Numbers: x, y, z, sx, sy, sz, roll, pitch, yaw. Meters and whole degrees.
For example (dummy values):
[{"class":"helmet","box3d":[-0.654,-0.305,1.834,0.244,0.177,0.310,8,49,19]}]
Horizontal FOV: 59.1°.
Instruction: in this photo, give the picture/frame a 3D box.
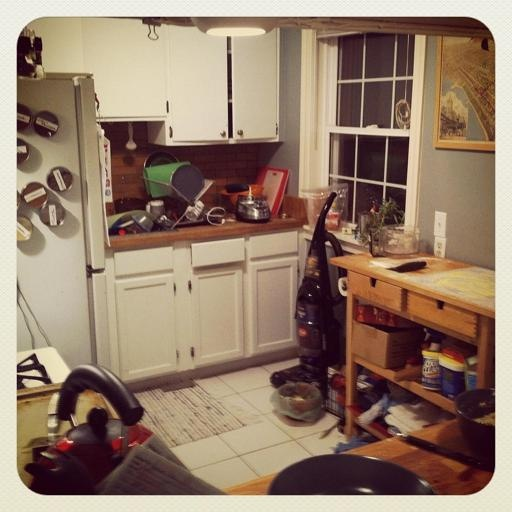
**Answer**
[{"class":"picture/frame","box3d":[0.848,-0.664,1.839,0.064,0.467,0.299,-5,13,-20]}]

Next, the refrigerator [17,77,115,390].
[{"class":"refrigerator","box3d":[-0.839,-0.077,1.903,0.381,1.287,0.155,-7,14,-28]}]

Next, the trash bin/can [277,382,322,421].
[{"class":"trash bin/can","box3d":[0.222,0.785,2.433,0.256,0.143,0.174,1,12,5]}]
